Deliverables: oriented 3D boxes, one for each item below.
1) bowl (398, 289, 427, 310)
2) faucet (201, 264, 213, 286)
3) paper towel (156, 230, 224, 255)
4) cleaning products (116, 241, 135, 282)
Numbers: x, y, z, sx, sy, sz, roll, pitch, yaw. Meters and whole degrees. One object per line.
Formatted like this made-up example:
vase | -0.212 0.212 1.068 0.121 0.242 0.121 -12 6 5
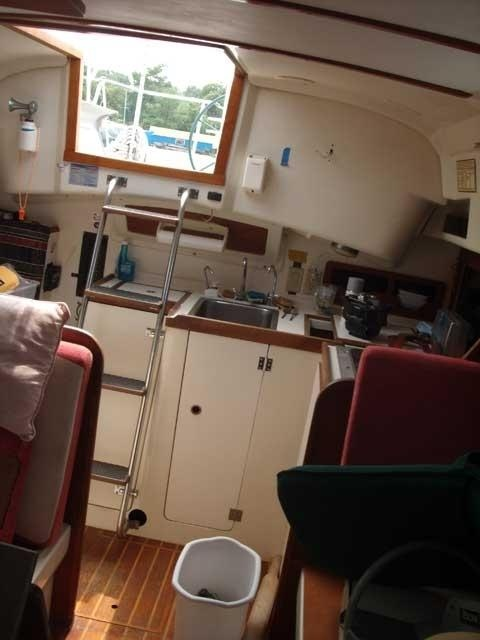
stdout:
bowl | 1.102 -0.131 3.011 0.110 0.081 0.023 17 26 17
faucet | -0.209 -0.286 3.133 0.075 0.149 0.098 9 5 -5
paper towel | -0.307 -0.511 3.011 0.434 0.083 0.206 9 6 -7
cleaning products | -0.747 -0.380 3.138 0.122 0.255 0.117 9 5 -7
